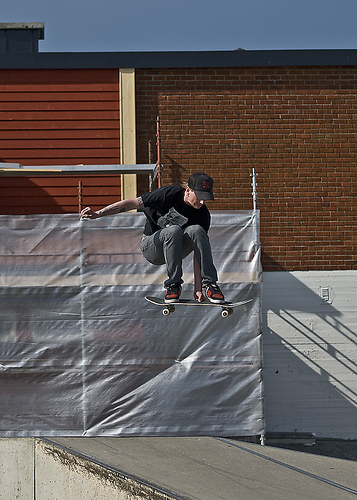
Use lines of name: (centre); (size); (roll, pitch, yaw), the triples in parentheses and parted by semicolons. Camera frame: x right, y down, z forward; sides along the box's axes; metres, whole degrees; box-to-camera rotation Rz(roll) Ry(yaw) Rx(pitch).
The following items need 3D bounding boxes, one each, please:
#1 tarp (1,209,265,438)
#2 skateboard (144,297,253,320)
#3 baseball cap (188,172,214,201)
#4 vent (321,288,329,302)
tarp: (-0.746, 1.147, 13.476); (3.576, 2.479, 0.132); (-1, -5, -4)
skateboard: (0.320, 0.834, 13.089); (1.839, 0.291, 0.437); (0, 5, 5)
baseball cap: (0.280, -0.772, 11.522); (0.243, 0.200, 0.368); (-8, 45, -31)
vent: (2.503, 0.780, 15.854); (0.130, 0.237, 0.033); (-1, 5, -15)
